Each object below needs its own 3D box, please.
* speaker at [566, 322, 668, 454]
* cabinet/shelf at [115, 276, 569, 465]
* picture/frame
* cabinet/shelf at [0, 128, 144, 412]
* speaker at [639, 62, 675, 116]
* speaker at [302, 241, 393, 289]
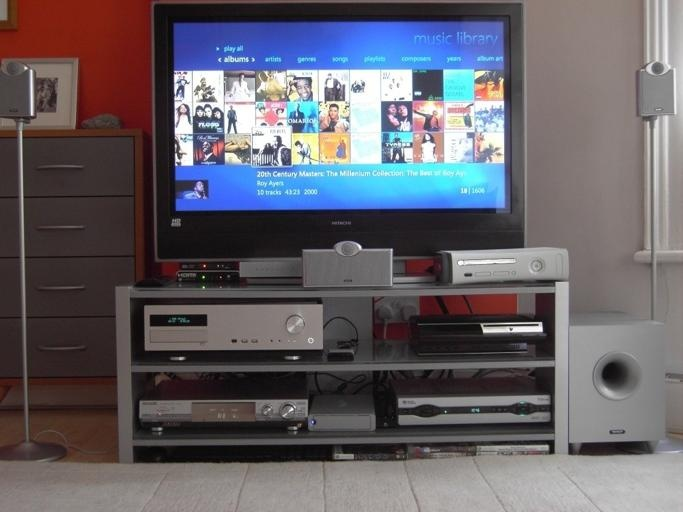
[{"bbox_3d":[1.099,0.499,2.904,0.385,0.490,0.527,-1,-2,5],"label":"speaker"},{"bbox_3d":[-0.009,0.422,3.025,1.841,0.749,0.460,-4,9,-1],"label":"cabinet/shelf"},{"bbox_3d":[-1.369,-0.722,3.289,0.472,0.432,0.045,0,0,-1],"label":"picture/frame"},{"bbox_3d":[-1.265,0.063,3.334,0.770,1.288,0.199,-3,9,2],"label":"cabinet/shelf"},{"bbox_3d":[1.348,-0.710,3.115,0.173,0.230,0.080,-3,9,7],"label":"speaker"},{"bbox_3d":[0.026,0.046,2.963,0.298,0.143,0.200,0,-3,0],"label":"speaker"}]
